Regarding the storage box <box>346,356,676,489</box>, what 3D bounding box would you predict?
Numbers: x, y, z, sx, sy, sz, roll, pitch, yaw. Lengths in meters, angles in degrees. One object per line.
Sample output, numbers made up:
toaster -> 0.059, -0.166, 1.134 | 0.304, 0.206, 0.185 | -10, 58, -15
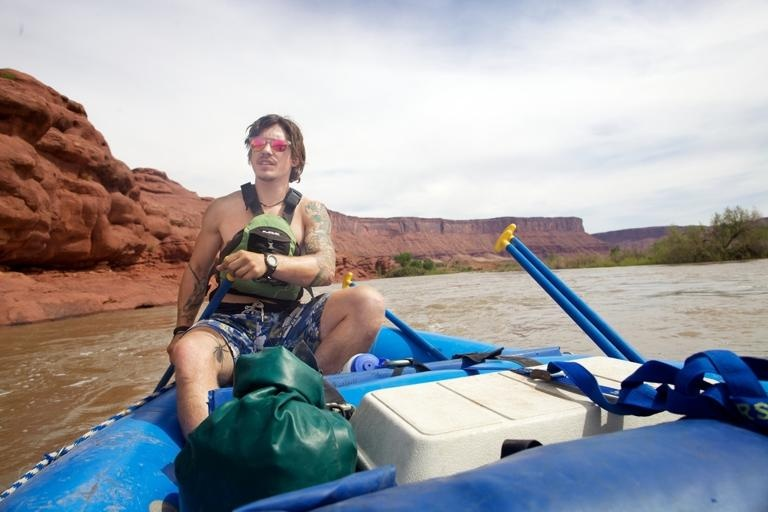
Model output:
storage box -> 0.435, 0.421, 1.065 | 0.787, 0.141, 0.348 | 1, -1, -27

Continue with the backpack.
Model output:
backpack -> -0.712, -0.064, 1.996 | 0.470, 0.691, 0.355 | -4, 1, -13

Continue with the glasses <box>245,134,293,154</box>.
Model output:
glasses -> -0.733, -0.676, 2.149 | 0.166, 0.043, 0.140 | 2, -16, -12
